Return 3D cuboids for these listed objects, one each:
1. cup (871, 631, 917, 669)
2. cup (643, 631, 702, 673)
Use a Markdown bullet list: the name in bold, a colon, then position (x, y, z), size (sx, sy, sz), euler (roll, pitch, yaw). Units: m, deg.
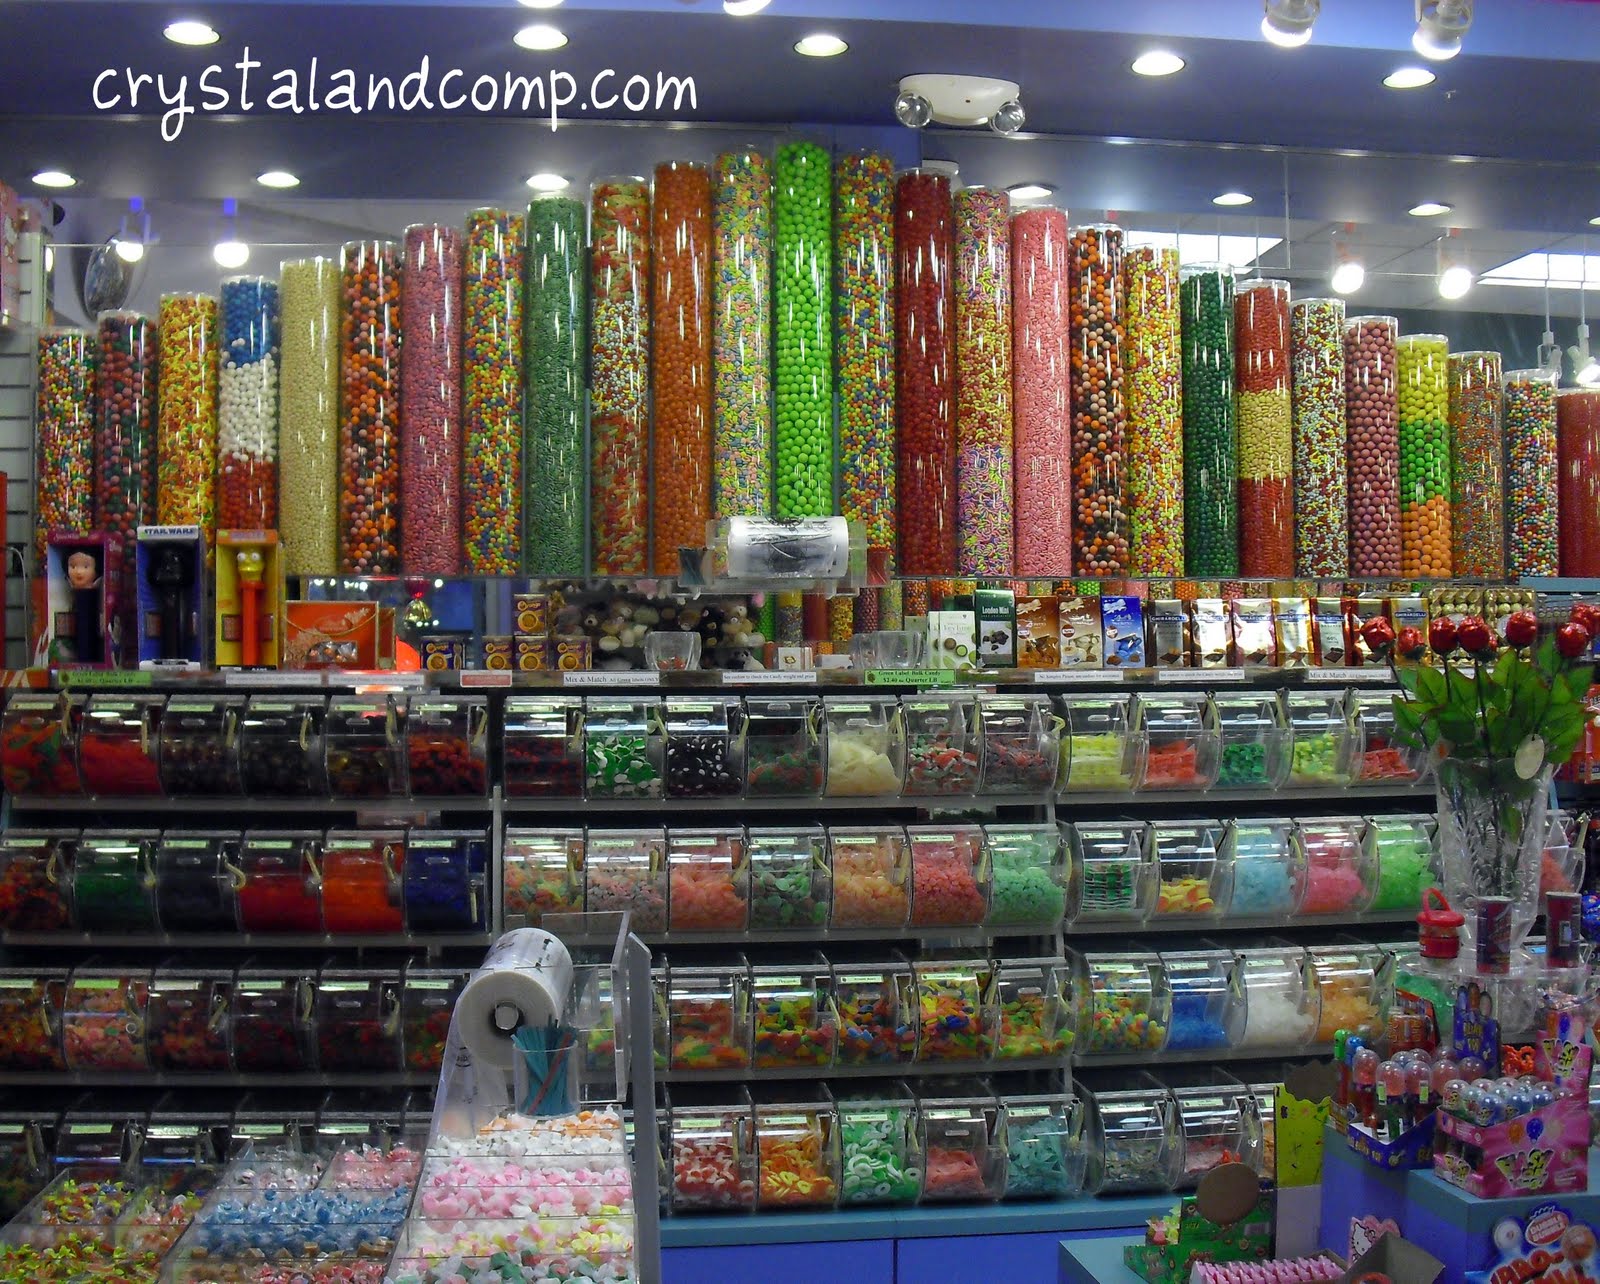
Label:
- **cup**: position (0.295, 0.026, 5.341), size (0.109, 0.092, 0.101), euler (-1, -4, 0)
- **cup**: position (-0.385, 0.036, 5.350), size (0.125, 0.110, 0.122), euler (-1, -2, 0)
